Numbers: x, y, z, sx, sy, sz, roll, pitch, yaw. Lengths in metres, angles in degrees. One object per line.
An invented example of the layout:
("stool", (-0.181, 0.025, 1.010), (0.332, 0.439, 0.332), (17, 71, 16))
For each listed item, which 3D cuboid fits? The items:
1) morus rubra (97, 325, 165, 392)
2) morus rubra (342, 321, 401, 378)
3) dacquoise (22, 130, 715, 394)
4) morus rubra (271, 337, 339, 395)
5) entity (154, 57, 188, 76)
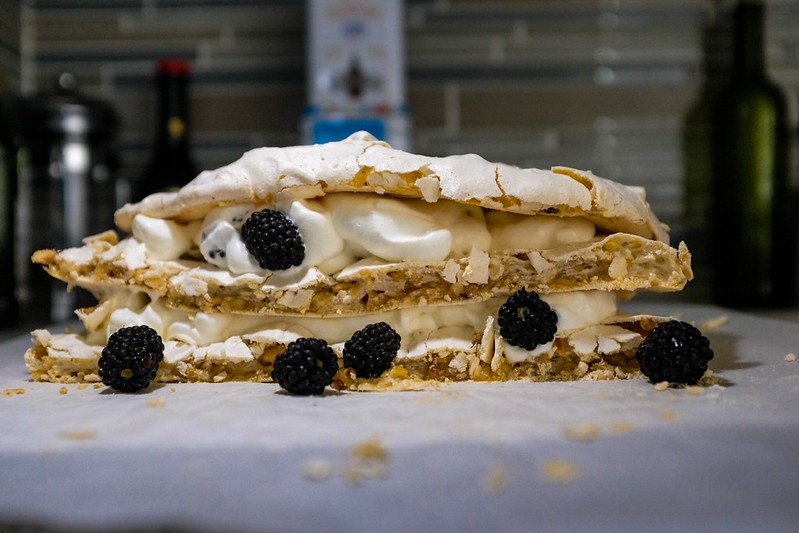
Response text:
("morus rubra", (-0.887, 0.305, 3.758), (0.173, 0.185, 0.260), (0, 10, 7))
("morus rubra", (-0.101, 0.273, 3.809), (0.204, 0.167, 0.143), (-9, 5, -24))
("dacquoise", (-0.146, -0.089, 4.316), (2.309, 0.735, 1.424), (0, 13, -9))
("morus rubra", (-0.302, 0.335, 3.788), (0.163, 0.171, 0.214), (-8, 13, -43))
("entity", (-0.963, -0.847, 4.842), (0.107, 0.037, 0.106), (-1, -1, -27))
